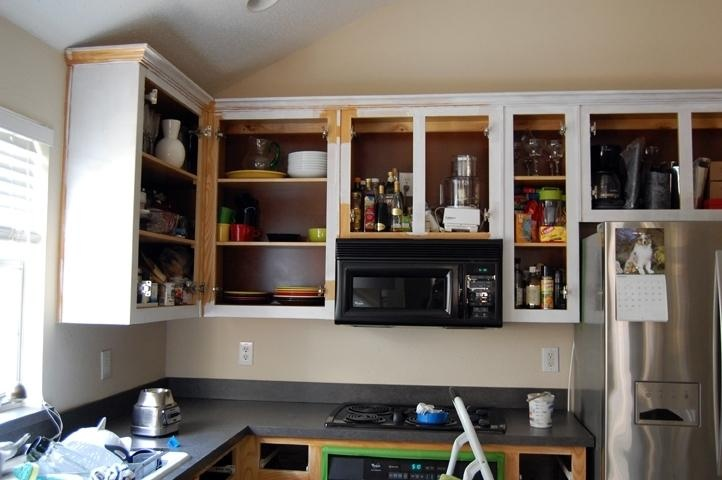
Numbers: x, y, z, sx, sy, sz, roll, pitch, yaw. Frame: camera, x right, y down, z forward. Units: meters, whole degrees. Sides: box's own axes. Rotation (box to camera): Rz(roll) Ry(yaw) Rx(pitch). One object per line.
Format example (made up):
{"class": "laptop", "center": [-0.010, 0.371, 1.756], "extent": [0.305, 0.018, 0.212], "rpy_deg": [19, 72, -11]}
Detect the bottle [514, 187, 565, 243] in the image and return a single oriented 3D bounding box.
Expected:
{"class": "bottle", "center": [1.025, -0.131, 3.391], "extent": [0.309, 0.294, 0.169], "rpy_deg": [0, -2, 9]}

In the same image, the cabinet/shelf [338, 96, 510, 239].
{"class": "cabinet/shelf", "center": [0.358, -0.388, 3.492], "extent": [0.957, 0.795, 0.325], "rpy_deg": [1, 0, 11]}

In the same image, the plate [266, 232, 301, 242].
{"class": "plate", "center": [-0.462, -0.015, 3.592], "extent": [0.224, 0.053, 0.149], "rpy_deg": [0, -4, -16]}

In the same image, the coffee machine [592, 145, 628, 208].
{"class": "coffee machine", "center": [1.388, -0.366, 3.416], "extent": [0.241, 0.364, 0.209], "rpy_deg": [-4, 8, -39]}

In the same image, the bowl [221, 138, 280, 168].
{"class": "bowl", "center": [-0.659, -0.515, 3.575], "extent": [0.263, 0.177, 0.172], "rpy_deg": [3, -6, -36]}

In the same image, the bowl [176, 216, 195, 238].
{"class": "bowl", "center": [-1.000, -0.069, 3.355], "extent": [0.114, 0.113, 0.072], "rpy_deg": [4, -5, -39]}

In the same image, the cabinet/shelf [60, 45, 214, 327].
{"class": "cabinet/shelf", "center": [-1.161, -0.266, 3.152], "extent": [0.470, 1.374, 0.711], "rpy_deg": [-3, -5, 26]}

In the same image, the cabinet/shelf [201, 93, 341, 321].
{"class": "cabinet/shelf", "center": [-0.511, -0.122, 3.585], "extent": [0.813, 1.242, 0.359], "rpy_deg": [0, -6, 2]}

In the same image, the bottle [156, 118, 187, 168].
{"class": "bottle", "center": [-1.055, -0.514, 3.242], "extent": [0.153, 0.247, 0.155], "rpy_deg": [9, 20, -3]}

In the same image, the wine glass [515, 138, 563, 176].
{"class": "wine glass", "center": [1.046, -0.493, 3.452], "extent": [0.222, 0.206, 0.120], "rpy_deg": [0, -3, 7]}

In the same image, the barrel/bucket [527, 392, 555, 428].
{"class": "barrel/bucket", "center": [1.007, 0.957, 3.306], "extent": [0.154, 0.183, 0.151], "rpy_deg": [4, -14, 1]}

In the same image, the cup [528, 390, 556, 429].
{"class": "cup", "center": [0.992, 0.952, 3.303], "extent": [0.178, 0.174, 0.148], "rpy_deg": [7, -8, -32]}

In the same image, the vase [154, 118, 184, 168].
{"class": "vase", "center": [-1.034, -0.529, 3.251], "extent": [0.150, 0.237, 0.144], "rpy_deg": [-4, 9, 26]}

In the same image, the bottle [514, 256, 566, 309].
{"class": "bottle", "center": [0.997, 0.268, 3.493], "extent": [0.361, 0.336, 0.264], "rpy_deg": [0, -8, 4]}

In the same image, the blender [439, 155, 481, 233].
{"class": "blender", "center": [0.600, -0.270, 3.530], "extent": [0.294, 0.454, 0.302], "rpy_deg": [8, 11, 29]}

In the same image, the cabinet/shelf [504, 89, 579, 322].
{"class": "cabinet/shelf", "center": [1.039, -0.126, 3.403], "extent": [0.426, 1.240, 0.361], "rpy_deg": [0, -11, 17]}

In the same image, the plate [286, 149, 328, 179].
{"class": "plate", "center": [-0.319, -0.442, 3.484], "extent": [0.186, 0.101, 0.218], "rpy_deg": [0, -2, -1]}

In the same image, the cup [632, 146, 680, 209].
{"class": "cup", "center": [1.682, -0.355, 3.400], "extent": [0.172, 0.307, 0.312], "rpy_deg": [-4, 15, -1]}

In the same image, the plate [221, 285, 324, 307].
{"class": "plate", "center": [-0.543, 0.339, 3.580], "extent": [0.626, 0.109, 0.268], "rpy_deg": [0, -3, -4]}

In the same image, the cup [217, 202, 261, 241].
{"class": "cup", "center": [-0.719, -0.103, 3.504], "extent": [0.248, 0.180, 0.167], "rpy_deg": [8, -15, -41]}
